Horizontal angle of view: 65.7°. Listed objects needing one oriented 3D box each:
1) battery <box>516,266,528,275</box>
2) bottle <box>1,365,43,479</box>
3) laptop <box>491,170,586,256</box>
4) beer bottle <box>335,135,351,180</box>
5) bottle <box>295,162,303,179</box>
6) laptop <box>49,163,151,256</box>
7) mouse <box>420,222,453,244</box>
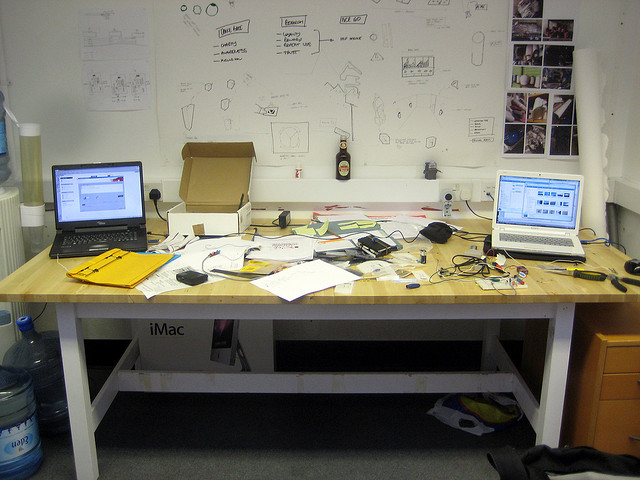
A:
[{"bbox_3d":[0.958,0.143,2.338,0.020,0.023,0.055,-8,31,-7],"label":"battery"},{"bbox_3d":[-1.512,0.905,2.487,0.183,0.469,0.311,-10,17,-27],"label":"bottle"},{"bbox_3d":[1.096,-0.140,2.467,0.448,0.320,0.375,4,21,12],"label":"laptop"},{"bbox_3d":[0.144,-0.490,3.020,0.083,0.232,0.071,-5,15,-12],"label":"beer bottle"},{"bbox_3d":[-0.125,-0.428,3.053,0.048,0.096,0.040,-3,15,-5],"label":"bottle"},{"bbox_3d":[-1.134,-0.152,2.543,0.512,0.331,0.466,2,31,-5],"label":"laptop"},{"bbox_3d":[0.648,-0.038,2.719,0.141,0.088,0.143,10,19,36],"label":"mouse"}]
